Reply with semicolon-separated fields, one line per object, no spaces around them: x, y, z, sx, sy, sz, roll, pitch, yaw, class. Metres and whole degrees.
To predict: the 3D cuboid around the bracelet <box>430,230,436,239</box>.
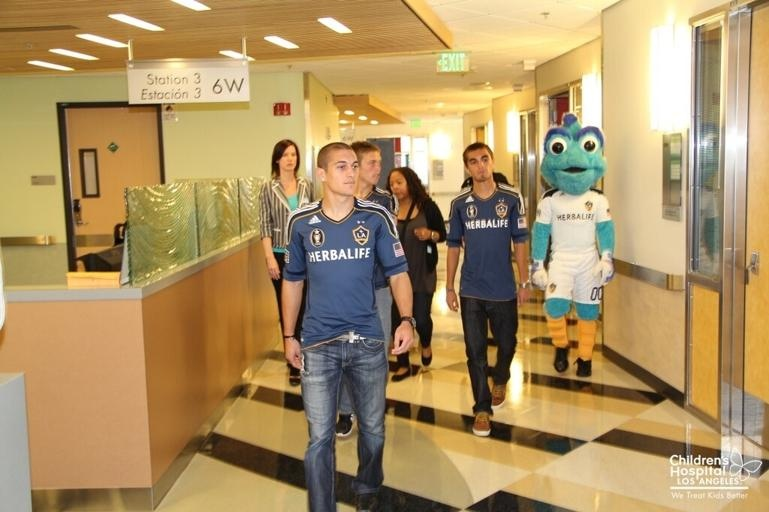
0.455;-0.190;4.889;0.062;0.071;0.035;-1;8;5;bracelet

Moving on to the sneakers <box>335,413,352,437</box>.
-0.315;1.354;4.183;0.083;0.113;0.252;0;-6;5;sneakers

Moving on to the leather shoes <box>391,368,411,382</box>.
0.153;1.176;5.268;0.093;0.078;0.180;0;3;40;leather shoes

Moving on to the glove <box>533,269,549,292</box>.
1.482;0.227;5.091;0.144;0.207;0.072;-6;12;-33;glove

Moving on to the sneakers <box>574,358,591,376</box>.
1.932;1.095;5.239;0.148;0.165;0.166;-1;-3;11;sneakers

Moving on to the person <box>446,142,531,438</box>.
0.871;0.222;4.265;0.614;2.243;0.623;-4;8;-14;person

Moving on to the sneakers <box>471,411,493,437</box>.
0.744;1.302;4.100;0.132;0.182;0.095;0;9;12;sneakers
